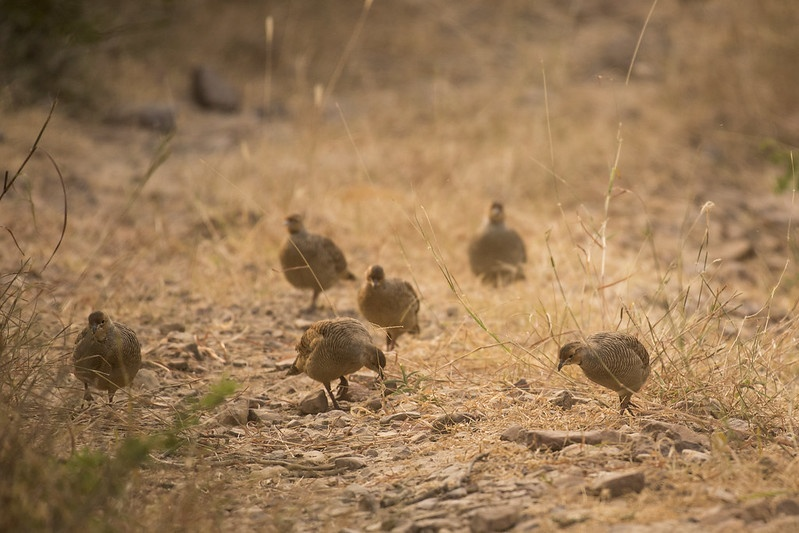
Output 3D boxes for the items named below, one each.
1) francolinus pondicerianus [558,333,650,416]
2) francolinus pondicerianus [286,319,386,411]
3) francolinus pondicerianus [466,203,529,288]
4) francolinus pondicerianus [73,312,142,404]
[{"bbox_3d":[2.133,1.027,8.905,1.106,0.747,0.564,-11,15,-17],"label":"francolinus pondicerianus"},{"bbox_3d":[-0.679,1.005,9.653,1.275,0.887,0.683,7,15,33],"label":"francolinus pondicerianus"},{"bbox_3d":[1.321,-0.228,12.910,0.941,1.231,1.282,0,-8,-7],"label":"francolinus pondicerianus"},{"bbox_3d":[-3.019,0.939,9.190,0.672,0.937,1.164,5,-3,-5],"label":"francolinus pondicerianus"}]
